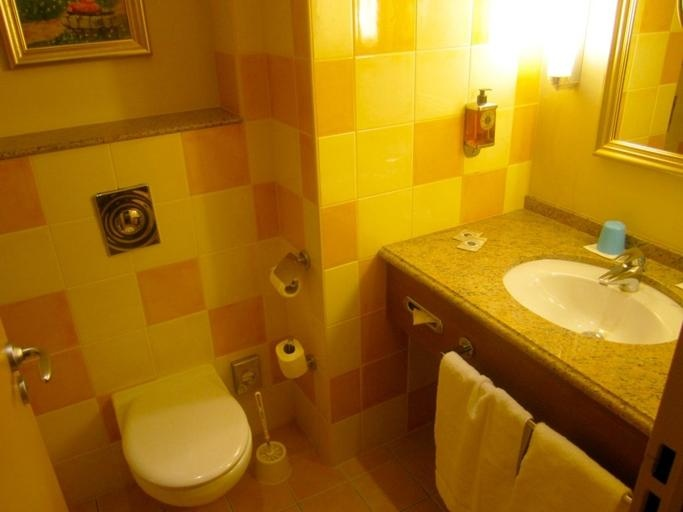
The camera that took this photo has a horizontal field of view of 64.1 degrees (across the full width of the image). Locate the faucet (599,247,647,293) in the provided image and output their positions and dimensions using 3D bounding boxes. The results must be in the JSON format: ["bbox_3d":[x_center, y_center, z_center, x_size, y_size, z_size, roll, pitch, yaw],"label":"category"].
[{"bbox_3d":[0.997,0.046,1.932,0.126,0.126,0.155,17,34,29],"label":"faucet"}]

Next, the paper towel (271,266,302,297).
[{"bbox_3d":[-0.239,0.098,2.261,0.089,0.135,0.044,-18,3,-8],"label":"paper towel"}]

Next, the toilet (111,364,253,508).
[{"bbox_3d":[-0.655,0.673,2.171,0.439,0.288,0.553,-15,38,-23],"label":"toilet"}]
